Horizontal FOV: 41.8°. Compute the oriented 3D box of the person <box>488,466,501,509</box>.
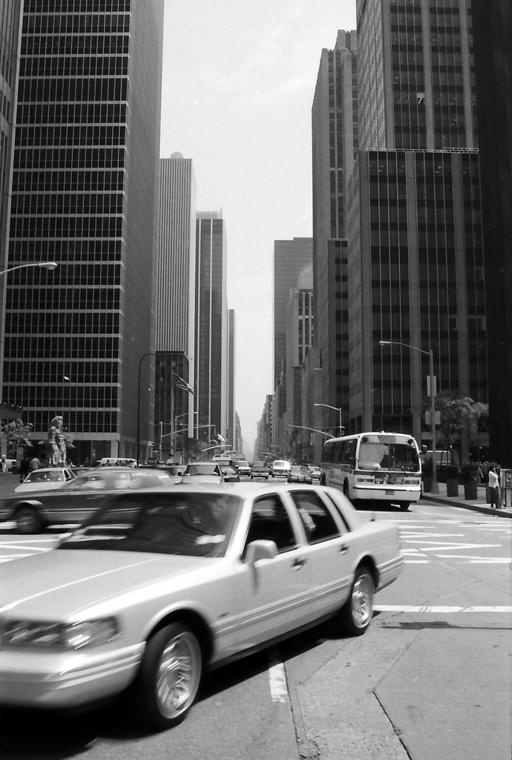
[{"bbox_3d":[8.141,3.844,23.107,0.348,1.273,0.889,-2,-4,19],"label":"person"}]

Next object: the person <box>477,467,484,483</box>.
[{"bbox_3d":[14.102,6.078,42.372,0.333,1.002,3.022,-2,-4,19],"label":"person"}]
